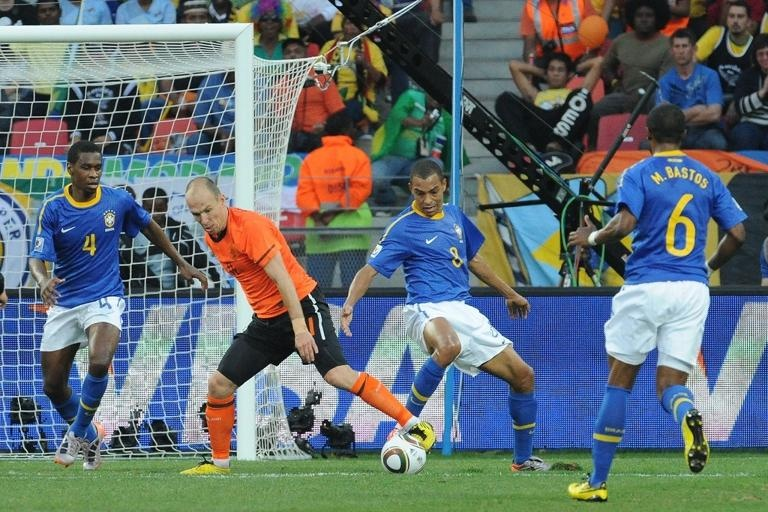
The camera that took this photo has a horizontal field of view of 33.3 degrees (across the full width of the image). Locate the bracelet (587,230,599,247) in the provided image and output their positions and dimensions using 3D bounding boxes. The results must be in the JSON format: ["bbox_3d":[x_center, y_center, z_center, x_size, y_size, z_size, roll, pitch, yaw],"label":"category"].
[{"bbox_3d":[1.764,-0.141,10.880,0.092,0.112,0.094,1,1,1],"label":"bracelet"}]

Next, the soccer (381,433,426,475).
[{"bbox_3d":[0.160,1.780,11.532,0.370,0.361,0.349,4,-8,-4],"label":"soccer"}]

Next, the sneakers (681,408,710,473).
[{"bbox_3d":[2.525,1.524,10.534,0.201,0.535,0.219,-7,-8,4],"label":"sneakers"}]

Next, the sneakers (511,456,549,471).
[{"bbox_3d":[1.354,1.928,11.989,0.380,0.147,0.133,-2,-3,-5],"label":"sneakers"}]

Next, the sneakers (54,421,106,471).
[{"bbox_3d":[-2.875,1.819,12.129,0.230,0.291,0.694,31,10,22],"label":"sneakers"}]

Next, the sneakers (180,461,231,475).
[{"bbox_3d":[-1.639,1.945,11.718,0.438,0.171,0.157,2,-8,0],"label":"sneakers"}]

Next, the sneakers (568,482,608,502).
[{"bbox_3d":[1.671,1.924,10.555,0.258,0.124,0.159,5,-1,11],"label":"sneakers"}]

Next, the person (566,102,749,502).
[{"bbox_3d":[2.307,0.367,10.784,1.466,3.264,0.720,0,-1,-5],"label":"person"}]

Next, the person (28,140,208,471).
[{"bbox_3d":[-2.749,0.475,12.140,1.179,3.080,0.654,0,-1,-11],"label":"person"}]
